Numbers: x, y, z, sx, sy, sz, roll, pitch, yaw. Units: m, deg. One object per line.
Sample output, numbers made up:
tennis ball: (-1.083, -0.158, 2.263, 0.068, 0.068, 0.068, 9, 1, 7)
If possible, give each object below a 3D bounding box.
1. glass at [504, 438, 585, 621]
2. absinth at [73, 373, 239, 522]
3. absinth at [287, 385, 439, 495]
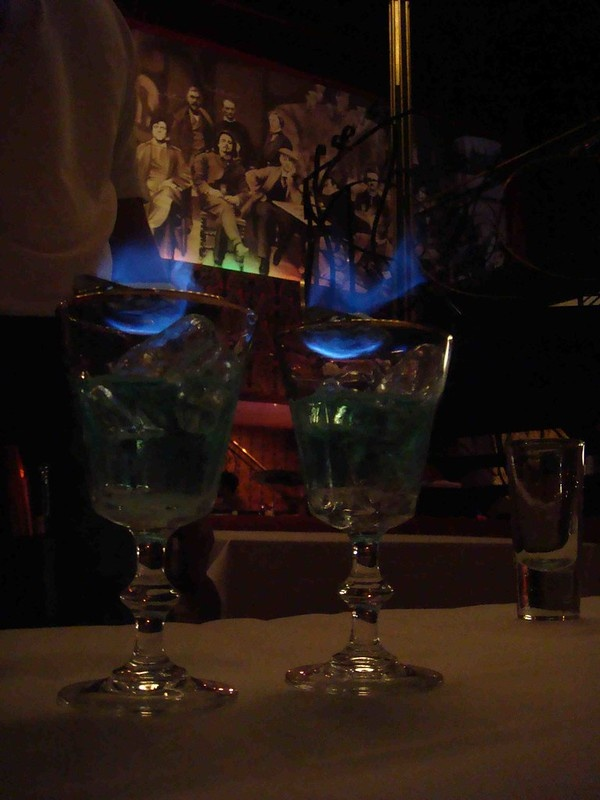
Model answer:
glass: (0.221, 0.112, 0.762, 0.078, 0.113, 0.063, 4, -1, -9)
absinth: (-0.088, 0.044, 0.570, 0.116, 0.091, 0.108, 0, -11, 6)
absinth: (0.048, 0.032, 0.612, 0.101, 0.057, 0.092, -1, -8, 3)
